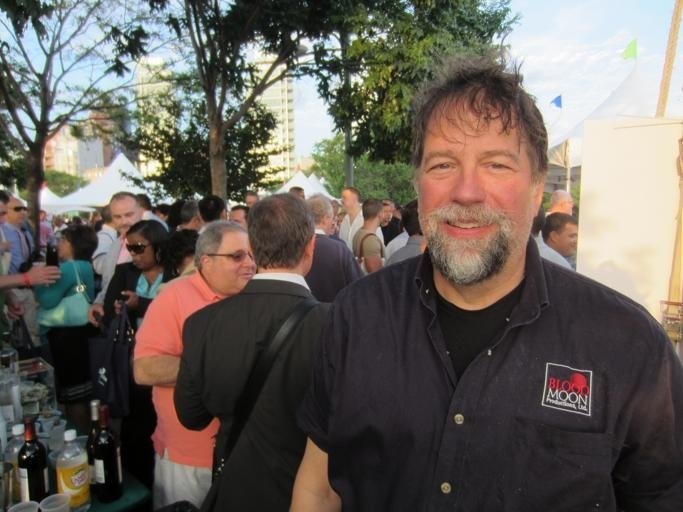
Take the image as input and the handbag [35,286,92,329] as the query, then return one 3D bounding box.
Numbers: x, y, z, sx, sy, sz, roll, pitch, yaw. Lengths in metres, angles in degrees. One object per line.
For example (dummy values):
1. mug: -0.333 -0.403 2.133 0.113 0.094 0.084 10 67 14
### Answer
1. handbag: -2.511 0.523 5.750 0.436 0.502 0.294 -14 11 -19
